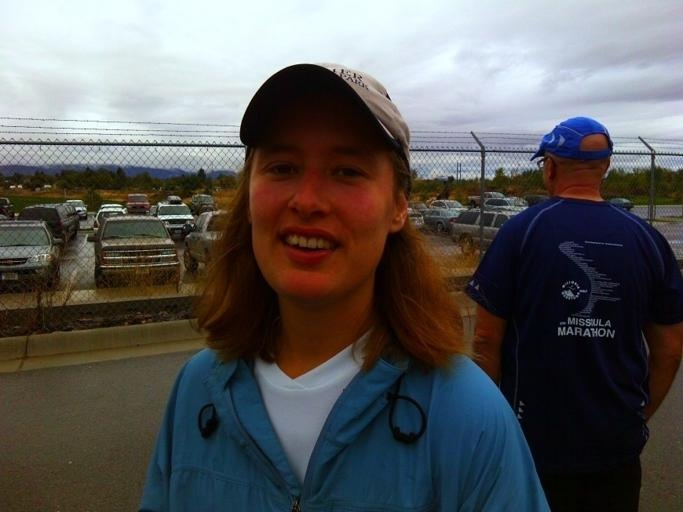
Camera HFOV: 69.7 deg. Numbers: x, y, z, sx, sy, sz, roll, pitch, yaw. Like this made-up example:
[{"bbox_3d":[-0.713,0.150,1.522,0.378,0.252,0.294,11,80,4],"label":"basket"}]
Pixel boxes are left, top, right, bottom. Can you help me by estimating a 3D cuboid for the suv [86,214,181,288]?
[{"bbox_3d":[-4.107,-0.113,9.870,1.421,1.138,2.799,-2,1,-17],"label":"suv"}]
